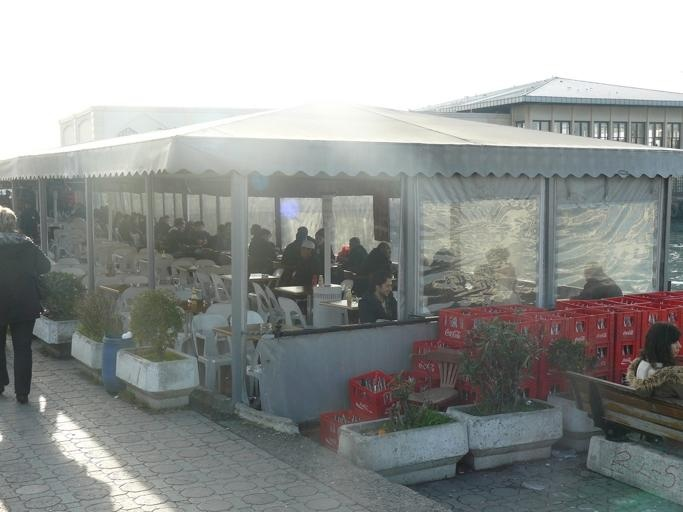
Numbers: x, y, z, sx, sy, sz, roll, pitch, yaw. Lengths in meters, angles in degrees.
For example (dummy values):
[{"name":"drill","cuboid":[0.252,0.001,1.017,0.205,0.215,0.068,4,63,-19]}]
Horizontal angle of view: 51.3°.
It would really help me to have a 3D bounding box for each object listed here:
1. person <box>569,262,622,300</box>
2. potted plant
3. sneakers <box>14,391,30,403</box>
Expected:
[{"name":"person","cuboid":[3.229,0.320,9.197,0.518,0.752,0.445,-1,3,-13]},{"name":"potted plant","cuboid":[0.566,1.561,6.416,1.159,0.929,0.526,-9,14,-25]},{"name":"sneakers","cuboid":[-3.496,1.541,7.783,0.113,0.116,0.119,0,0,-2]}]
